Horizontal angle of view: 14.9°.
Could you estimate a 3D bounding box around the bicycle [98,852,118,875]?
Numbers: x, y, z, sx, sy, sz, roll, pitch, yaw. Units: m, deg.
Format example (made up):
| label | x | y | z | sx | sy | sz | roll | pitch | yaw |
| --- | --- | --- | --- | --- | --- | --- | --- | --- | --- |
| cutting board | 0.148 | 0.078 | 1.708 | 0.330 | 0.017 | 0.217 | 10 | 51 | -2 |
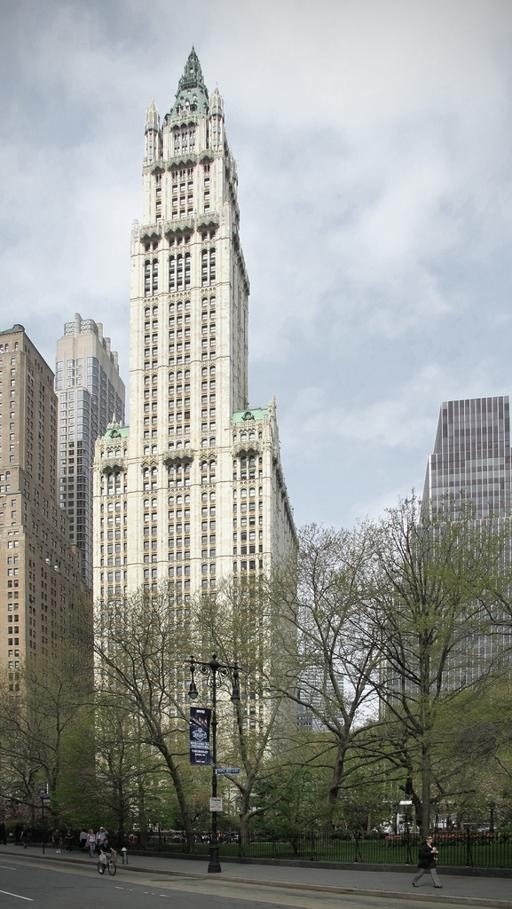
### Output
| label | x | y | z | sx | sy | sz | roll | pitch | yaw |
| --- | --- | --- | --- | --- | --- | --- | --- | --- | --- |
| bicycle | -7.220 | 19.779 | 95.548 | 1.472 | 0.989 | 0.721 | -20 | -25 | 36 |
